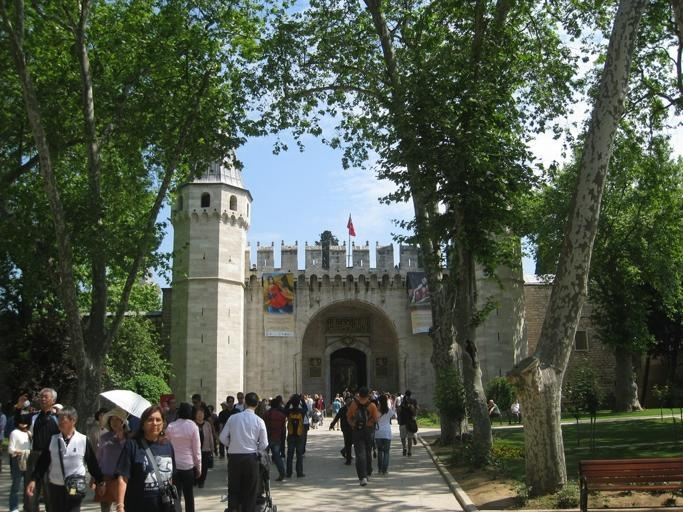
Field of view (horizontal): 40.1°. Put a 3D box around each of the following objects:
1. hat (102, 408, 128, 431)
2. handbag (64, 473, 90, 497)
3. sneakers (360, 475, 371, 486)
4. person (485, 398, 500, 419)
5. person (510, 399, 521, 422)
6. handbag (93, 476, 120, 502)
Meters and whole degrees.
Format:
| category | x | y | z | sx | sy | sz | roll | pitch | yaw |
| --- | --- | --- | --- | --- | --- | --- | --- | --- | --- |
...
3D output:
| category | x | y | z | sx | sy | sz | roll | pitch | yaw |
| --- | --- | --- | --- | --- | --- | --- | --- | --- | --- |
| hat | -5.096 | 3.594 | 20.826 | 0.791 | 0.407 | 0.455 | -13 | -15 | 41 |
| handbag | -5.928 | 5.117 | 20.787 | 0.446 | 0.508 | 0.193 | 6 | -14 | -40 |
| sneakers | 0.629 | 6.193 | 25.776 | 0.194 | 0.239 | 0.544 | -1 | -9 | -3 |
| person | 6.581 | 6.597 | 40.492 | 0.496 | 0.920 | 1.703 | -5 | -11 | 8 |
| person | 7.819 | 6.983 | 42.209 | 0.393 | 0.935 | 2.001 | -5 | -11 | 12 |
| handbag | -4.981 | 4.988 | 19.938 | 0.634 | 0.653 | 0.493 | -1 | -1 | -14 |
